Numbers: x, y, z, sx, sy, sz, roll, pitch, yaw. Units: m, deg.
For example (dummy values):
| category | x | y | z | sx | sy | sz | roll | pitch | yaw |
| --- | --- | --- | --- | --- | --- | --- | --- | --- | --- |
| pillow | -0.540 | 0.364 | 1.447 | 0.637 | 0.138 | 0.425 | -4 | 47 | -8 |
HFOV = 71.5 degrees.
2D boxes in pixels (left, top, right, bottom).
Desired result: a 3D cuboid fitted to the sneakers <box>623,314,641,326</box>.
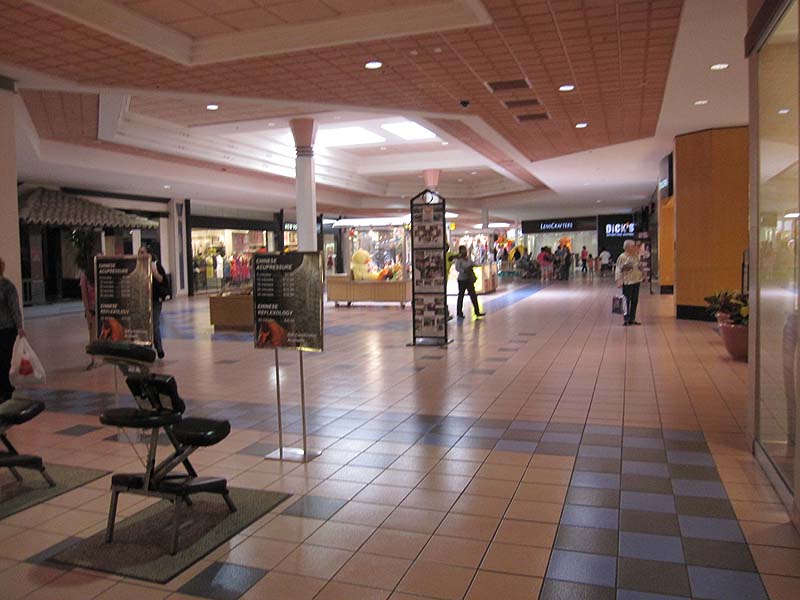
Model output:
| category | x | y | z | sx | sy | sz | roll | pitch | yaw |
| --- | --- | --- | --- | --- | --- | --- | --- | --- | --- |
| sneakers | 4.972 | 0.448 | 11.912 | 0.165 | 0.205 | 0.505 | 2 | 8 | 28 |

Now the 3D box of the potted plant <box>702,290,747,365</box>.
| category | x | y | z | sx | sy | sz | roll | pitch | yaw |
| --- | --- | --- | --- | --- | --- | --- | --- | --- | --- |
| potted plant | 5.018 | 0.366 | 8.530 | 0.530 | 0.944 | 1.206 | 1 | 6 | 29 |
